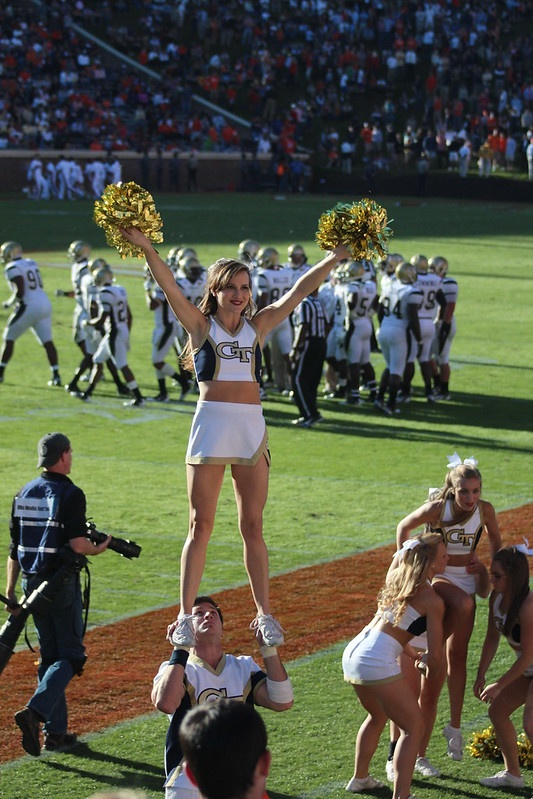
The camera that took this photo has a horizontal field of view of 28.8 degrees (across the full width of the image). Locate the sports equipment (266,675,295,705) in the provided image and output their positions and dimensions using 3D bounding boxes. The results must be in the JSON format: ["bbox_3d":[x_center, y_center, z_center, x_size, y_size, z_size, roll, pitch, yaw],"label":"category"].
[{"bbox_3d":[0.033,1.021,3.638,0.089,0.076,0.087,-3,0,-44],"label":"sports equipment"}]

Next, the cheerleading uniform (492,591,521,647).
[{"bbox_3d":[1.057,0.983,4.594,0.145,0.162,0.194,8,0,14],"label":"cheerleading uniform"}]

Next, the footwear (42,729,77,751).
[{"bbox_3d":[-0.952,1.588,4.843,0.188,0.074,0.065,-2,10,-18],"label":"footwear"}]

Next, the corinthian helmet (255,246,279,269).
[{"bbox_3d":[0.044,-1.838,13.570,0.264,0.242,0.304,-3,15,-19],"label":"corinthian helmet"}]

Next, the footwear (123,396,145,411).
[{"bbox_3d":[-1.694,0.071,13.065,0.335,0.119,0.116,1,5,20],"label":"footwear"}]

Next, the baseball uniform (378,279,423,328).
[{"bbox_3d":[1.583,-1.163,12.371,0.441,0.596,0.355,-1,14,2],"label":"baseball uniform"}]

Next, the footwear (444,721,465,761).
[{"bbox_3d":[0.834,1.526,4.629,0.073,0.161,0.079,-5,-15,2],"label":"footwear"}]

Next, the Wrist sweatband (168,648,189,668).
[{"bbox_3d":[-0.309,0.920,3.661,0.066,0.071,0.121,3,7,-2],"label":"Wrist sweatband"}]

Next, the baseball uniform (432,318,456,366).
[{"bbox_3d":[2.229,-0.698,13.120,0.245,0.540,0.353,4,8,8],"label":"baseball uniform"}]

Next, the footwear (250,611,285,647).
[{"bbox_3d":[0.006,0.840,3.777,0.087,0.057,0.149,-8,9,-18],"label":"footwear"}]

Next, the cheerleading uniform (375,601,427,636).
[{"bbox_3d":[0.546,0.922,4.355,0.171,0.113,0.141,5,-12,46],"label":"cheerleading uniform"}]

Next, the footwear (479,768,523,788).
[{"bbox_3d":[1.013,1.629,4.454,0.197,0.069,0.065,2,-8,4],"label":"footwear"}]

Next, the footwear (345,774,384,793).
[{"bbox_3d":[0.412,1.634,4.380,0.172,0.062,0.056,-3,7,-14],"label":"footwear"}]

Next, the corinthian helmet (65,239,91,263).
[{"bbox_3d":[-2.556,-1.991,14.194,0.247,0.284,0.527,2,7,-7],"label":"corinthian helmet"}]

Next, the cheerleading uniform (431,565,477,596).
[{"bbox_3d":[0.889,0.837,4.907,0.165,0.111,0.152,21,-1,-28],"label":"cheerleading uniform"}]

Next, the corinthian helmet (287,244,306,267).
[{"bbox_3d":[0.391,-1.895,13.671,0.320,0.315,0.375,0,-8,-4],"label":"corinthian helmet"}]

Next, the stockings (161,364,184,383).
[{"bbox_3d":[-1.196,-0.315,13.195,0.187,0.117,0.587,-4,-17,26],"label":"stockings"}]

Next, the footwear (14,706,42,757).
[{"bbox_3d":[-1.029,1.439,4.473,0.100,0.253,0.160,1,8,-11],"label":"footwear"}]
